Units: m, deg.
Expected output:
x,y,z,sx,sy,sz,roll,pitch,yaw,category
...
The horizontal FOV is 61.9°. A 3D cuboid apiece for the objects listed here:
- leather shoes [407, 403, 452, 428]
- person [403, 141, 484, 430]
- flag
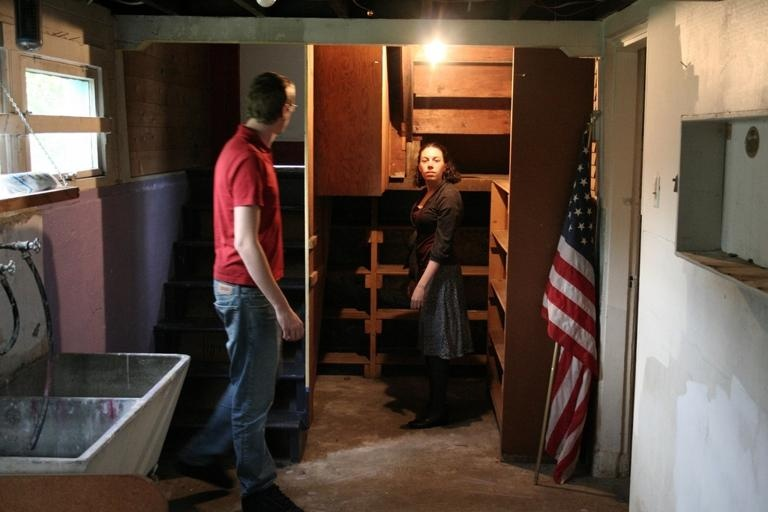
x,y,z,sx,sy,sz,roll,pitch,yaw,category
0.349,1.223,4.881,0.402,0.238,0.129,1,1,-5,leather shoes
0.401,0.239,4.883,0.504,2.112,0.543,-1,12,-7,person
1.217,0.401,4.121,0.361,2.131,0.287,-7,14,-31,flag
